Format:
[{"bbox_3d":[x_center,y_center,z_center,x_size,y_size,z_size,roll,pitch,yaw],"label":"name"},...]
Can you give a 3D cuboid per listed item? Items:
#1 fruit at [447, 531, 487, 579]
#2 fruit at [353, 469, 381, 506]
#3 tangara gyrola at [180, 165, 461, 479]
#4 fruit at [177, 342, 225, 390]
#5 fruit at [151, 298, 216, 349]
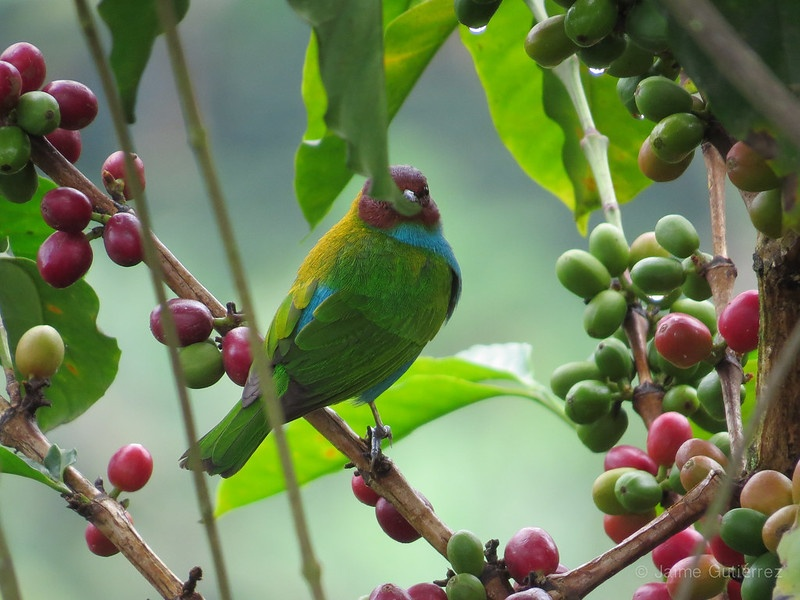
[{"bbox_3d":[0.114,0.430,1.680,0.067,0.075,0.068,-3,-23,-4],"label":"fruit"},{"bbox_3d":[-0.061,0.370,1.953,0.061,0.064,0.076,-2,-50,4],"label":"fruit"},{"bbox_3d":[-0.108,0.028,2.796,0.355,0.828,0.813,-23,-29,39],"label":"tangara gyrola"},{"bbox_3d":[-0.405,0.138,1.974,0.113,0.098,0.086,0,17,-14],"label":"fruit"},{"bbox_3d":[-0.425,0.052,1.946,0.122,0.121,0.136,3,-24,-17],"label":"fruit"}]
